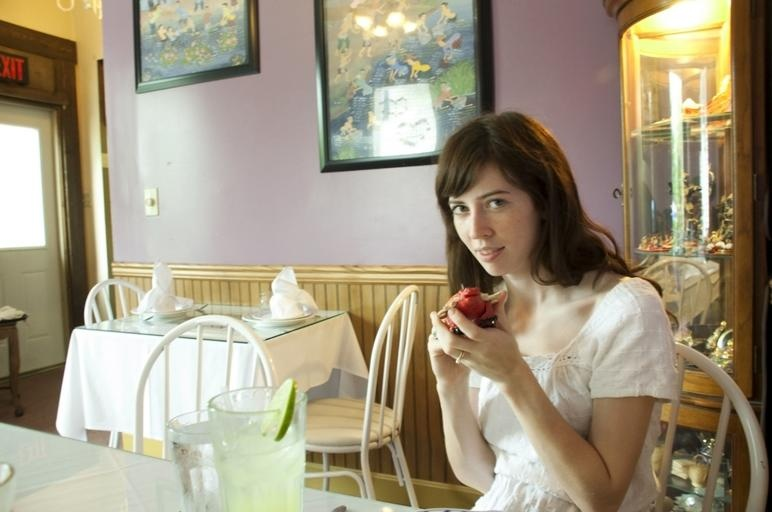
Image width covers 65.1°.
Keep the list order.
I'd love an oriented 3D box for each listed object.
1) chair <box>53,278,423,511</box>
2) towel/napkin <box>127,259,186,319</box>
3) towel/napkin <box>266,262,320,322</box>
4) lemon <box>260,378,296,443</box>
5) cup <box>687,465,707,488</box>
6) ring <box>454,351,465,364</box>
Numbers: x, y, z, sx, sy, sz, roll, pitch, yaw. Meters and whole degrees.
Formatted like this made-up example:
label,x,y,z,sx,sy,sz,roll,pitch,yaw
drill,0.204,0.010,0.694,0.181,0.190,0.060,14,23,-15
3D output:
label,x,y,z,sx,sy,sz,roll,pitch,yaw
chair,-0.522,0.548,2.470,1.050,0.571,0.886,2,8,20
towel/napkin,-1.176,0.183,3.210,0.314,0.290,0.269,-1,-4,-12
towel/napkin,-0.473,0.172,2.994,0.255,0.276,0.241,0,4,3
lemon,-0.245,0.353,1.411,0.082,0.139,0.104,-2,4,-2
cup,1.241,0.866,2.401,0.077,0.089,0.083,-5,-4,0
ring,0.215,0.302,1.779,0.011,0.048,0.047,20,7,7
